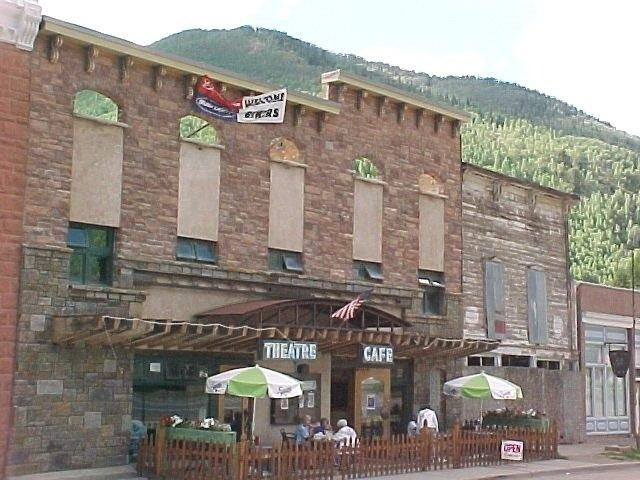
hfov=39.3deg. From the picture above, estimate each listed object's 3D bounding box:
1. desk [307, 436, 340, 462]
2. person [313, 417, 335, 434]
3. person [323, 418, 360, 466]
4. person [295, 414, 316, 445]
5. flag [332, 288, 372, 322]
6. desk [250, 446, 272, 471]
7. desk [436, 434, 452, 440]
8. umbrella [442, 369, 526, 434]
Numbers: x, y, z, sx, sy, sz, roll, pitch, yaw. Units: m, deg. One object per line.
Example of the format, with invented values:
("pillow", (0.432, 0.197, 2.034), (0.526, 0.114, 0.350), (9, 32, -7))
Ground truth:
("desk", (0.110, 6.357, 27.059), (1.083, 0.740, 0.698), (4, -16, -19))
("person", (0.220, 6.194, 29.922), (0.688, 0.754, 0.735), (3, -10, -21))
("person", (0.716, 6.324, 27.896), (1.008, 1.453, 1.039), (11, -15, -43))
("person", (-0.457, 6.085, 29.053), (0.705, 1.315, 0.625), (-3, -7, 8))
("flag", (1.038, 2.388, 30.597), (1.184, 0.954, 3.115), (-2, -16, 0))
("desk", (-1.697, 6.210, 25.605), (0.426, 0.748, 0.715), (-7, -10, 36))
("desk", (4.154, 6.560, 29.943), (0.209, 0.232, 0.838), (-14, -20, 37))
("umbrella", (6.204, 6.274, 34.680), (1.916, 1.390, 2.033), (4, -19, 8))
